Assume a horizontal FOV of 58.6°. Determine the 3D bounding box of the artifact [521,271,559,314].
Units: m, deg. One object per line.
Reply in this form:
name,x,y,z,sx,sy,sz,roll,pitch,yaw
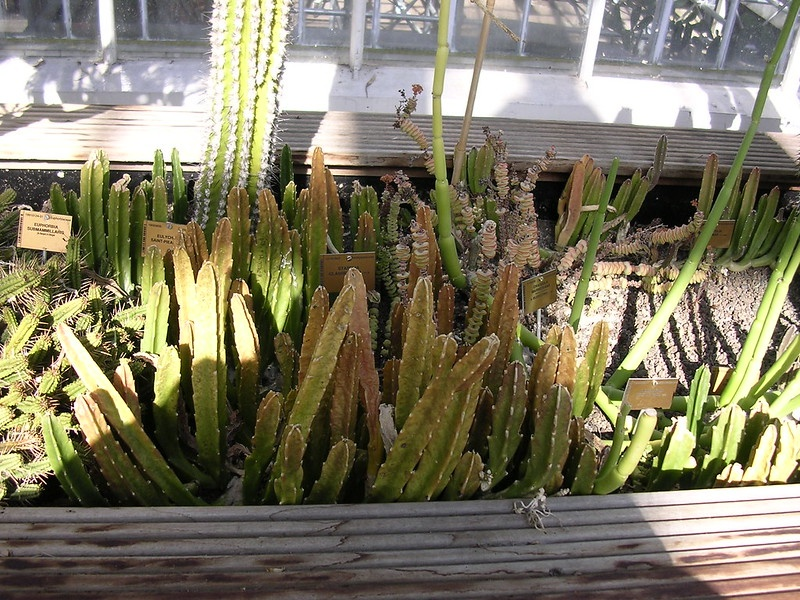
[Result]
artifact,0.357,-0.020,1.821,0.096,0.073,0.019,-26,36,-28
